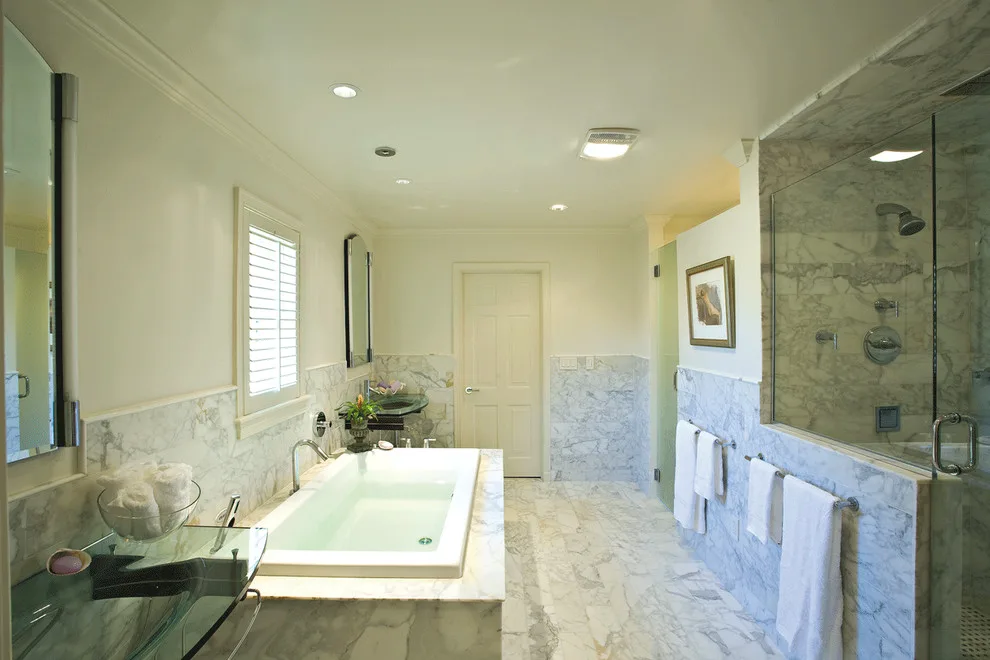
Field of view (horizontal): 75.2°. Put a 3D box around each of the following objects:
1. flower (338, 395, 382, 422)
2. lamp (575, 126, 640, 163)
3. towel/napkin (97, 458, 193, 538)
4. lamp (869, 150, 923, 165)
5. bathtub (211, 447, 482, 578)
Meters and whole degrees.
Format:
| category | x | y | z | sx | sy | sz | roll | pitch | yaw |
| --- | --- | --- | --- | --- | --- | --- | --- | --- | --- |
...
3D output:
| category | x | y | z | sx | sy | sz | roll | pitch | yaw |
| --- | --- | --- | --- | --- | --- | --- | --- | --- | --- |
| flower | -1.036 | 0.619 | 4.911 | 0.246 | 0.179 | 0.251 | 1 | 5 | -15 |
| lamp | 0.680 | -1.120 | 3.855 | 0.337 | 0.129 | 0.412 | 0 | 10 | 4 |
| towel/napkin | -1.490 | 0.729 | 2.757 | 0.299 | 0.211 | 0.323 | 8 | -2 | -7 |
| lamp | 2.011 | -0.870 | 3.214 | 0.086 | 0.069 | 0.256 | -4 | 10 | -17 |
| bathtub | -0.722 | 1.165 | 4.066 | 1.172 | 0.376 | 1.762 | 0 | 10 | 1 |
